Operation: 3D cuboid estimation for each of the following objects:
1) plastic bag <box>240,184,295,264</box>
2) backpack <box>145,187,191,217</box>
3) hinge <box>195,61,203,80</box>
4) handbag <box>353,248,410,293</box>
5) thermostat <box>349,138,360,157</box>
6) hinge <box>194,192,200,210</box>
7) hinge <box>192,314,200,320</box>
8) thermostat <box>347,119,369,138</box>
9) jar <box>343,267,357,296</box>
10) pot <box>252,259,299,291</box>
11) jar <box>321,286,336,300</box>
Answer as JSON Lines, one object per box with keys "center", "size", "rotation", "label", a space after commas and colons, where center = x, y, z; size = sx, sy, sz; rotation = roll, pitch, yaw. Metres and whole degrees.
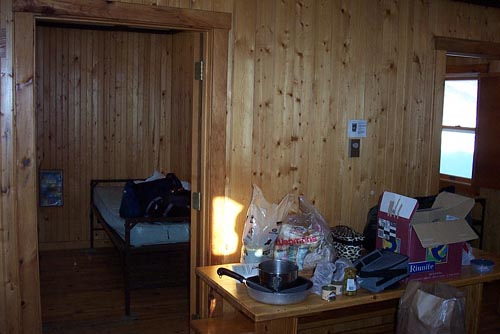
{"center": [0.136, 0.442, 3.324], "size": [0.294, 0.632, 0.342], "rotation": [-5, 10, -40], "label": "plastic bag"}
{"center": [-0.889, 0.401, 4.567], "size": [0.513, 0.334, 0.428], "rotation": [3, 8, 3], "label": "backpack"}
{"center": [-0.417, -0.793, 3.312], "size": [0.077, 0.149, 0.017], "rotation": [6, 9, 26], "label": "hinge"}
{"center": [0.948, 0.737, 2.938], "size": [0.301, 0.121, 0.291], "rotation": [-21, 18, -27], "label": "handbag"}
{"center": [0.956, -0.181, 3.716], "size": [0.112, 0.171, 0.023], "rotation": [0, 8, -19], "label": "thermostat"}
{"center": [-0.443, 0.275, 3.389], "size": [0.019, 0.190, 0.131], "rotation": [-2, 5, -31], "label": "hinge"}
{"center": [-0.471, 1.291, 3.499], "size": [0.055, 0.063, 0.034], "rotation": [4, -1, -8], "label": "hinge"}
{"center": [0.974, -0.356, 3.706], "size": [0.150, 0.157, 0.011], "rotation": [-2, 4, -11], "label": "thermostat"}
{"center": [0.708, 0.794, 2.856], "size": [0.101, 0.185, 0.142], "rotation": [4, 8, 15], "label": "jar"}
{"center": [0.161, 0.757, 2.805], "size": [0.338, 0.149, 0.278], "rotation": [2, 2, 14], "label": "pot"}
{"center": [0.527, 0.850, 2.749], "size": [0.083, 0.057, 0.082], "rotation": [1, 6, 0], "label": "jar"}
